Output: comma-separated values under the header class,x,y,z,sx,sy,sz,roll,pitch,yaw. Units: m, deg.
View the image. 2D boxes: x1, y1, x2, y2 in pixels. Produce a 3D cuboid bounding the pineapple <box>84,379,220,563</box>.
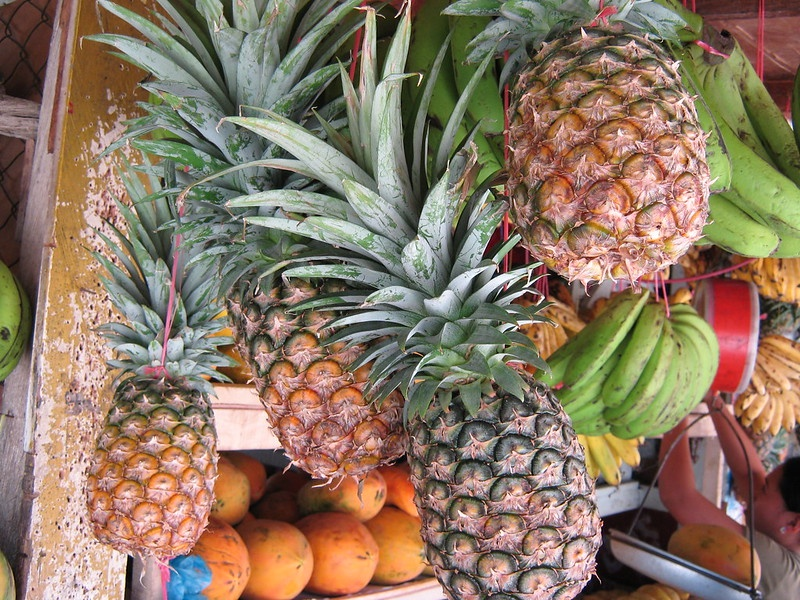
class,x,y,z,sx,sy,sz,roll,pitch,yaw
pineapple,-0.720,0.483,2.301,0.348,0.426,0.322,3,19,-5
